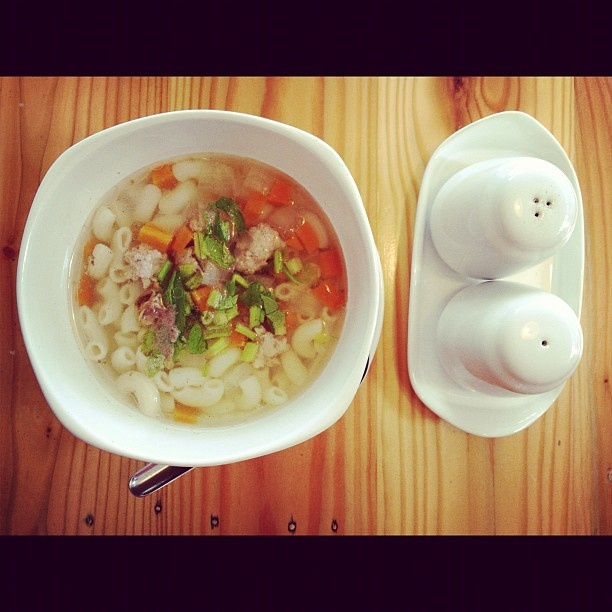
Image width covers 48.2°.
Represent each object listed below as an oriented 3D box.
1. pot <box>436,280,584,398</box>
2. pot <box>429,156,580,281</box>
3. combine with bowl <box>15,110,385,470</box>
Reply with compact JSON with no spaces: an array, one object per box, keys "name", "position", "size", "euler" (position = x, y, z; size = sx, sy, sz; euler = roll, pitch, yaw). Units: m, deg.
[{"name":"pot","position":[0.371,0.049,1.415],"size":[0.231,0.242,0.254],"euler":[-20,88,-1]},{"name":"pot","position":[0.383,-0.175,1.365],"size":[0.242,0.203,0.227],"euler":[0,85,-2]},{"name":"combine with bowl","position":[-0.212,-0.026,1.367],"size":[0.698,0.246,0.677],"euler":[-18,85,-4]}]
